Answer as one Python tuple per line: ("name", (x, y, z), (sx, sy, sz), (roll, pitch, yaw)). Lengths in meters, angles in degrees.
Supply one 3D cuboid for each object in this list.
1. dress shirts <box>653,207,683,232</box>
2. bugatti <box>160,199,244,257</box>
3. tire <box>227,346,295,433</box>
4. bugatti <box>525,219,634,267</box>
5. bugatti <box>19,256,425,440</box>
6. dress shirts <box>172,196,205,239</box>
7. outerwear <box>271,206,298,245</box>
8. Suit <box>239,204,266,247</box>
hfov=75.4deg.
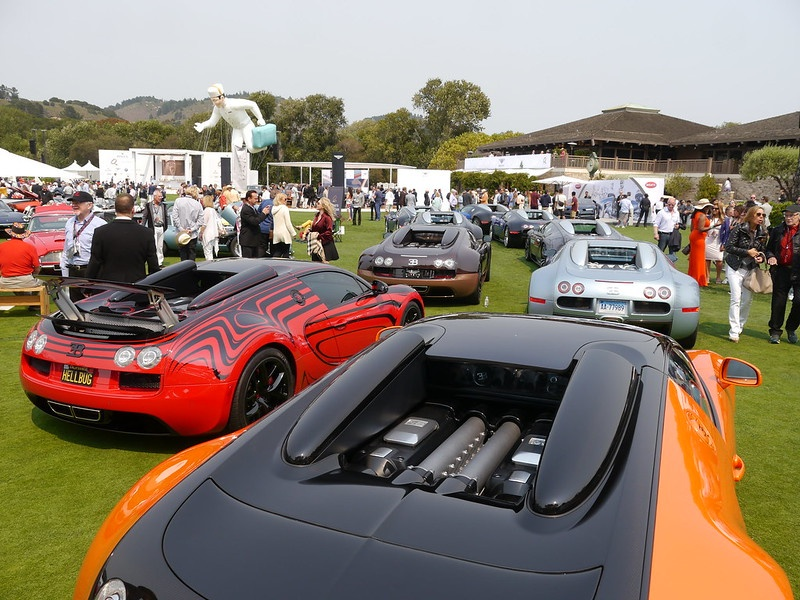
("dress shirts", (8.186, -2.440, 15.781), (0.578, 0.728, 0.781), (8, 15, 28))
("bugatti", (-5.920, -2.082, 15.821), (3.014, 1.497, 1.839), (2, 7, 6))
("tire", (-1.164, 0.698, 4.169), (0.196, 0.556, 0.528), (-5, 23, 38))
("bugatti", (4.549, -1.806, 14.273), (2.065, 1.070, 3.746), (-2, 4, 1))
("bugatti", (-1.347, 0.286, 5.393), (1.923, 1.078, 3.492), (5, 12, 33))
("dress shirts", (-5.307, -2.065, 12.760), (0.717, 1.027, 0.650), (-1, 13, -7))
("outerwear", (-2.799, -1.834, 12.468), (0.629, 0.939, 0.604), (-8, 15, -33))
("Suit", (-3.491, -1.775, 12.214), (0.611, 1.028, 0.503), (-7, 15, -31))
